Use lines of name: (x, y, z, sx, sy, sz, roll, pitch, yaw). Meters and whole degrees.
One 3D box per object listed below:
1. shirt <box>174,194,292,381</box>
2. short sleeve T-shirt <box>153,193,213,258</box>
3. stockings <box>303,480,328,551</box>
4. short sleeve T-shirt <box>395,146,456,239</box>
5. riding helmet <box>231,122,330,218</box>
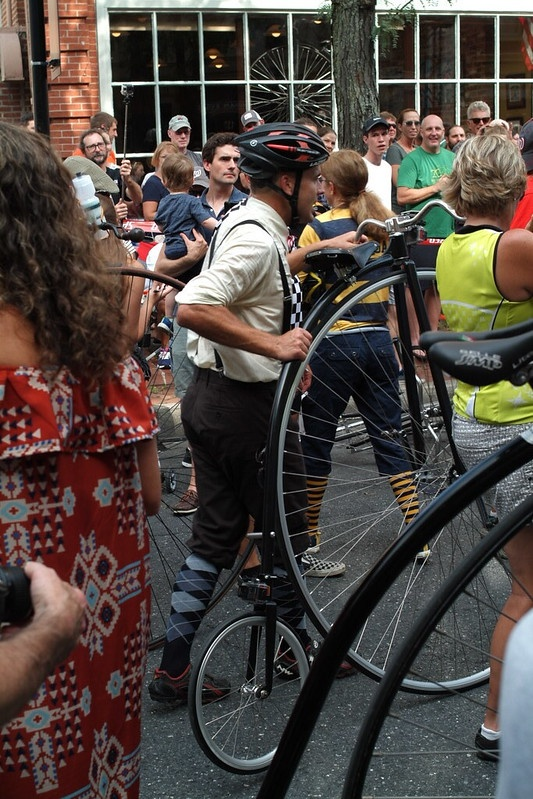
shirt: (-0.141, -0.485, 2.760, 0.451, 0.798, 0.808, 5, 21, 11)
short sleeve T-shirt: (-0.739, -1.537, 5.694, 0.482, 0.629, 0.428, -7, -2, 21)
stockings: (0.263, 0.620, 3.520, 0.131, 0.453, 0.155, 1, 7, -12)
short sleeve T-shirt: (2.126, -2.610, 7.888, 0.934, 1.103, 0.570, -7, 6, -12)
riding helmet: (0.056, -0.998, 2.692, 0.383, 0.395, 0.308, -4, 19, -1)
